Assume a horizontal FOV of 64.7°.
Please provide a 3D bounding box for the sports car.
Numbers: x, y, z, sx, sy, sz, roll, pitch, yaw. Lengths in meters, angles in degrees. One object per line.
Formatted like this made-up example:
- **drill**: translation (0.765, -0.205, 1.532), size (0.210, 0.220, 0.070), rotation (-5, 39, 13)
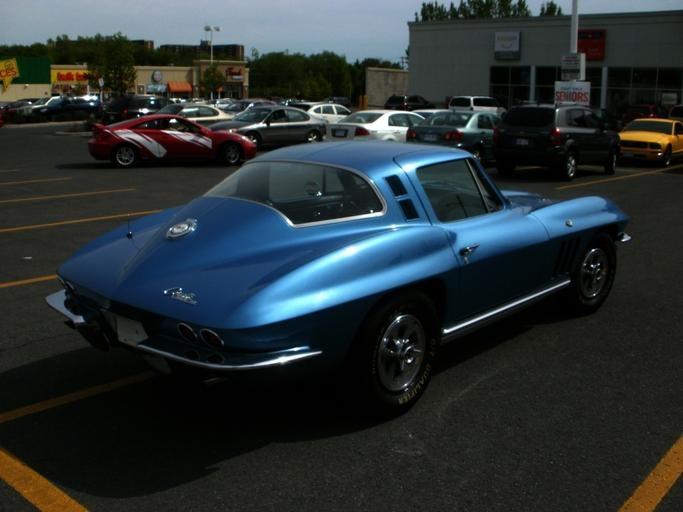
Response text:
- **sports car**: translation (0.421, -0.192, 4.466), size (4.209, 1.353, 2.015), rotation (-18, 24, -41)
